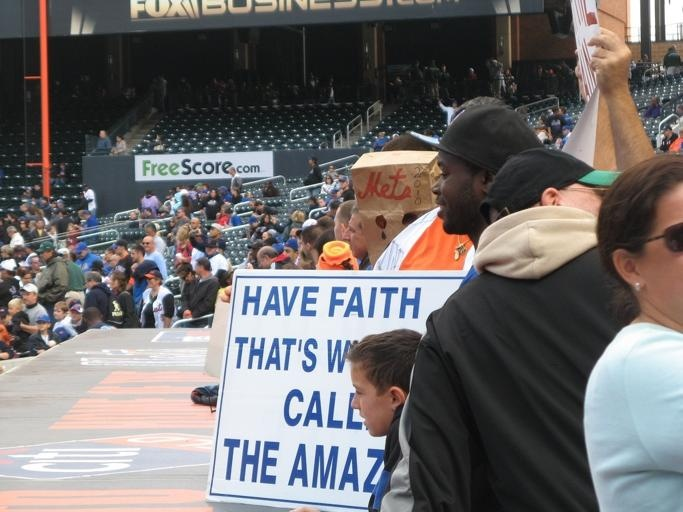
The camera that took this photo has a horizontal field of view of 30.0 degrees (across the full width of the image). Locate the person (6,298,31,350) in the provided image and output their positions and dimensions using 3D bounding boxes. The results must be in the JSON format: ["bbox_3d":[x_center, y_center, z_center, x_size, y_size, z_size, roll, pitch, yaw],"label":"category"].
[{"bbox_3d":[-5.261,1.117,20.706,0.316,0.263,0.758,17,35,-34],"label":"person"}]

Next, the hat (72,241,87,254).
[{"bbox_3d":[-5.099,-0.176,24.808,0.262,0.234,0.414,-2,2,14],"label":"hat"}]

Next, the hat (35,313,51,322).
[{"bbox_3d":[-4.805,0.974,20.537,0.161,0.125,0.271,-1,-8,-5],"label":"hat"}]

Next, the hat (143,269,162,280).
[{"bbox_3d":[-3.000,0.289,20.361,0.191,0.113,0.146,11,-5,-2],"label":"hat"}]

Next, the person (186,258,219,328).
[{"bbox_3d":[-2.182,0.578,20.272,0.621,1.086,0.267,0,7,27],"label":"person"}]

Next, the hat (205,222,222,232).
[{"bbox_3d":[-2.732,-0.632,27.215,0.213,0.113,0.327,9,-10,33],"label":"hat"}]

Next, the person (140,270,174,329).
[{"bbox_3d":[-2.996,0.678,20.648,0.499,0.960,0.712,-6,7,-22],"label":"person"}]

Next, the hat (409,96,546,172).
[{"bbox_3d":[1.539,-1.285,13.482,1.006,0.544,0.671,27,16,-1],"label":"hat"}]

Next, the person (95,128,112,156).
[{"bbox_3d":[-6.980,-3.321,37.299,0.461,0.678,1.003,-5,6,-9],"label":"person"}]

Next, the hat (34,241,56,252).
[{"bbox_3d":[-5.790,-0.204,24.782,0.425,0.261,0.308,7,5,0],"label":"hat"}]
